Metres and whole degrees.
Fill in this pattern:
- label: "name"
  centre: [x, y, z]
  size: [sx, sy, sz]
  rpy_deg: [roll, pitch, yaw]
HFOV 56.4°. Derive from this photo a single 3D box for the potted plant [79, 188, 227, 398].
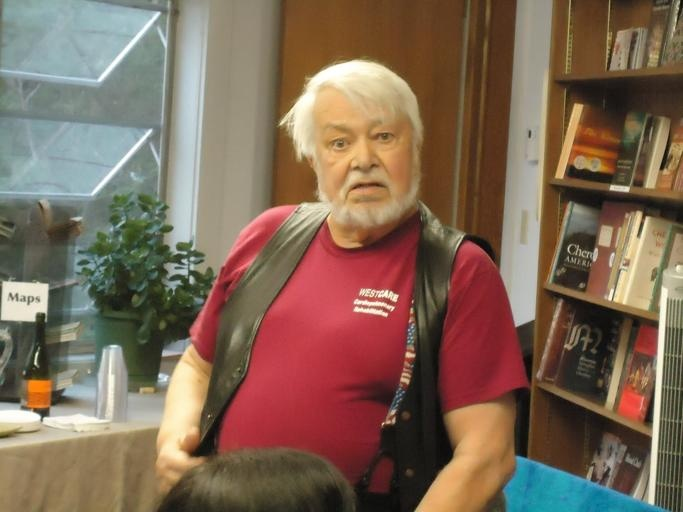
- label: "potted plant"
  centre: [-0.835, 0.211, 2.741]
  size: [0.395, 0.660, 0.350]
  rpy_deg: [20, -5, -14]
